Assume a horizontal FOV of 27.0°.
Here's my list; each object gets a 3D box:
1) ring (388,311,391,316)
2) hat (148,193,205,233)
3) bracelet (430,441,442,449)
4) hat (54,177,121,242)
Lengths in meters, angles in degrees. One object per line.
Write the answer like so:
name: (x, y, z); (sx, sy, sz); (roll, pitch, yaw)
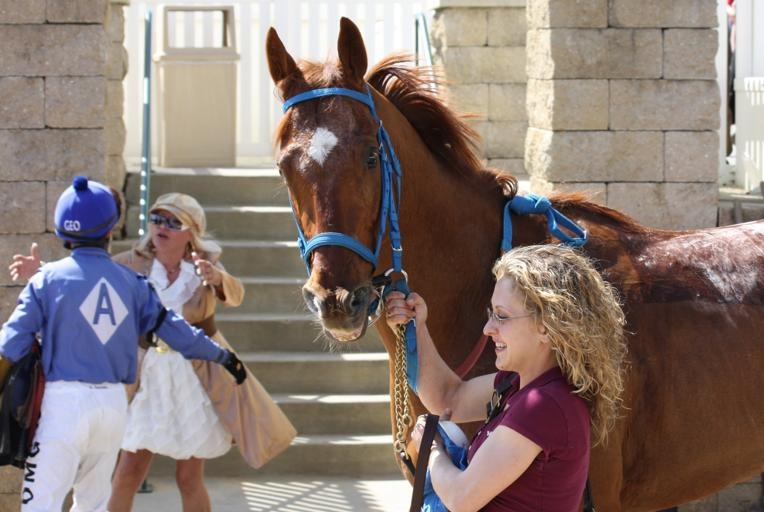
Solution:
ring: (0.047, 0.380, 10.486); (0.017, 0.024, 0.007); (-16, -37, 13)
hat: (-1.575, -0.369, 11.862); (0.376, 0.264, 0.499); (16, -10, -10)
bracelet: (0.343, 1.218, 10.091); (0.039, 0.057, 0.014); (4, -34, 14)
hat: (-2.092, -0.423, 11.179); (0.423, 0.413, 0.621); (-2, 24, 11)
